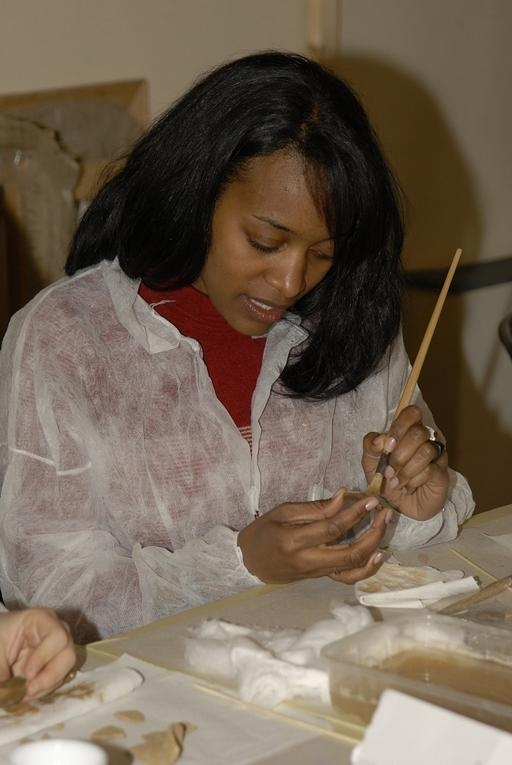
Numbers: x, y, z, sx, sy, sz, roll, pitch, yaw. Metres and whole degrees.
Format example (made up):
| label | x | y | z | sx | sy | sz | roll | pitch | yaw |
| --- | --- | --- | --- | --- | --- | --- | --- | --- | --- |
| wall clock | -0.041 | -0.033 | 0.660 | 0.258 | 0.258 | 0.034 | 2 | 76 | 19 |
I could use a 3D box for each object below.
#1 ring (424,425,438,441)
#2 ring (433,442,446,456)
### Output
| label | x | y | z | sx | sy | sz | roll | pitch | yaw |
| --- | --- | --- | --- | --- | --- | --- | --- | --- | --- |
| ring | 0.292 | 0.084 | 1.249 | 0.009 | 0.021 | 0.016 | -25 | 11 | 31 |
| ring | 0.298 | 0.108 | 1.217 | 0.007 | 0.022 | 0.025 | -17 | 3 | 1 |
